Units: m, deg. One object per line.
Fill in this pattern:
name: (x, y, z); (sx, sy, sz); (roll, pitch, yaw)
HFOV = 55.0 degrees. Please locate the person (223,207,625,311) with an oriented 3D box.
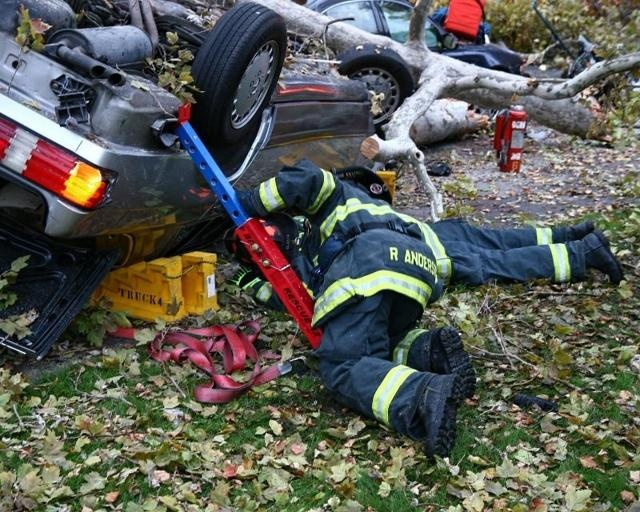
person: (0.754, 0.030, 4.449); (2.362, 0.426, 0.931); (-1, 44, -9)

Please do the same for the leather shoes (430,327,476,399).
leather shoes: (0.692, 0.544, 3.247); (0.203, 0.193, 0.415); (-14, 67, -10)

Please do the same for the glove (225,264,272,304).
glove: (-0.500, 0.219, 4.435); (0.229, 0.088, 0.380); (-20, 39, -42)

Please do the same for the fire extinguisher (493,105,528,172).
fire extinguisher: (2.315, -1.446, 7.659); (0.426, 0.753, 0.265); (-6, 16, -30)

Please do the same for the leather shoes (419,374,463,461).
leather shoes: (0.571, 0.778, 2.989); (0.167, 0.210, 0.415); (27, 56, -42)
